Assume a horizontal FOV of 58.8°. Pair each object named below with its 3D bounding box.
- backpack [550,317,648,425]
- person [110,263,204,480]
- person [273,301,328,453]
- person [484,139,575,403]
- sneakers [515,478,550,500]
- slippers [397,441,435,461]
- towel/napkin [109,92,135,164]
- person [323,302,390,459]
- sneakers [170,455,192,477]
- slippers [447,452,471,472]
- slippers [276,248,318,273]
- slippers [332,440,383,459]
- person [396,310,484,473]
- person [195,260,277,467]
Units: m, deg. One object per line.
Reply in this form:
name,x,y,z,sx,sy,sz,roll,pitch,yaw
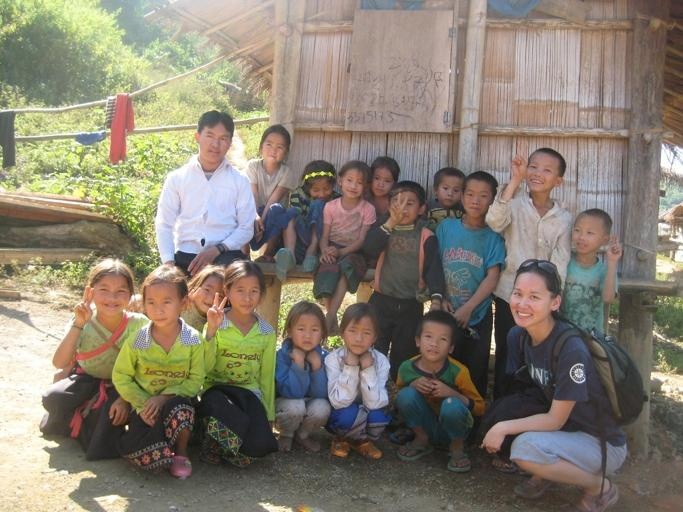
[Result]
backpack,1.860,0.861,4.426,0.676,0.704,0.188,6,10,5
person,-1.355,0.825,4.483,0.663,1.409,0.555,5,10,1
person,-0.321,0.975,5.008,0.471,1.163,0.385,4,10,-7
person,1.656,0.268,5.387,0.679,2.422,0.667,1,3,20
sneakers,1.413,1.728,4.552,0.277,0.107,0.127,-13,23,-22
slippers,0.587,1.598,4.996,0.224,0.070,0.116,-1,8,-30
towel/napkin,-3.538,-2.041,9.748,0.358,1.077,0.201,-4,13,-42
person,0.130,1.007,4.967,0.570,1.200,0.351,5,10,-1
sneakers,-1.164,1.511,4.378,0.152,0.130,0.110,3,10,-16
slippers,0.939,1.631,4.848,0.181,0.134,0.184,8,11,14
slippers,-0.467,0.043,5.691,0.219,0.167,0.498,2,1,-12
slippers,0.100,1.570,4.934,0.262,0.099,0.192,-1,-3,28
person,0.793,1.068,4.950,0.737,1.191,0.461,8,10,14
person,-0.785,0.807,4.729,0.602,1.468,0.690,3,10,-12
